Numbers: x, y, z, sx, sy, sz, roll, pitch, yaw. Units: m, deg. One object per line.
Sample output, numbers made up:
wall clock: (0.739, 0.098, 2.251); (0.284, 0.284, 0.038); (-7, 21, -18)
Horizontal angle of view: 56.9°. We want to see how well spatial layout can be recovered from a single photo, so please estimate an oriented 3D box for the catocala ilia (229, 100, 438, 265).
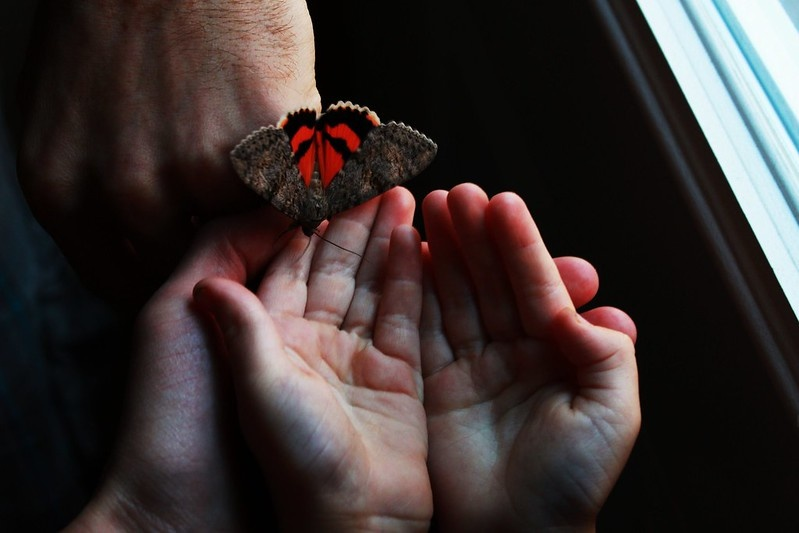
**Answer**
catocala ilia: (-0.169, -0.158, 1.411); (0.459, 0.162, 0.343); (7, 77, 33)
